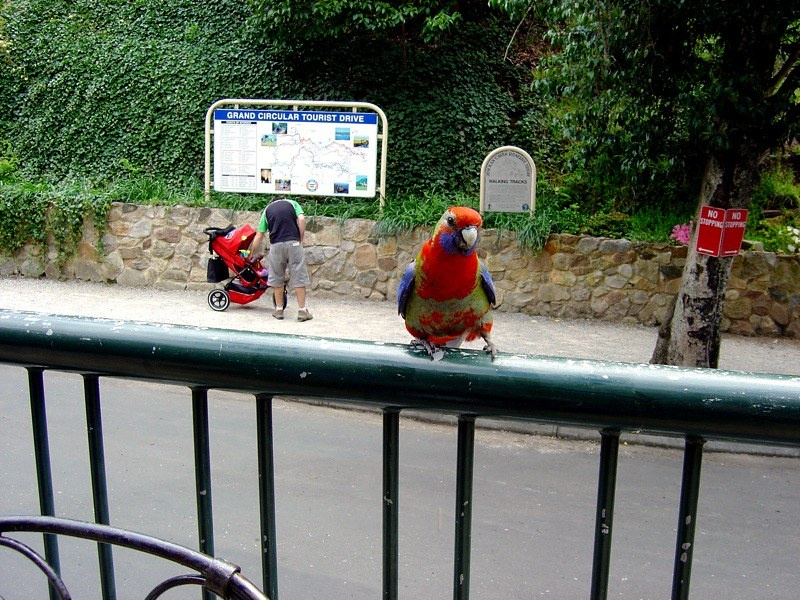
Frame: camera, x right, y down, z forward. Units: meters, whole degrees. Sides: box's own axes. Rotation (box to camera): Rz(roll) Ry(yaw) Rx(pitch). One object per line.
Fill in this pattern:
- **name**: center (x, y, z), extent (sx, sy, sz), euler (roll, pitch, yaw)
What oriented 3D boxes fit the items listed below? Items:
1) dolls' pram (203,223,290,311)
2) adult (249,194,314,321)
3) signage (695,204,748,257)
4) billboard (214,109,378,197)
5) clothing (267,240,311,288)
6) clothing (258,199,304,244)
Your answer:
- **dolls' pram**: center (-2.625, -0.594, 14.456), extent (1.041, 1.311, 0.832), euler (4, 11, -5)
- **adult**: center (-1.900, -0.668, 13.844), extent (0.889, 2.231, 0.520), euler (-4, -23, -5)
- **signage**: center (3.660, -0.805, 10.387), extent (0.547, 0.582, 0.134), euler (3, 6, 43)
- **billboard**: center (-1.877, -2.615, 16.137), extent (2.946, 1.579, 0.315), euler (6, 4, 12)
- **clothing**: center (-1.723, -0.547, 13.853), extent (0.576, 0.730, 0.384), euler (1, 21, 0)
- **clothing**: center (-1.807, -1.180, 13.852), extent (0.659, 0.751, 0.377), euler (0, 18, 14)
